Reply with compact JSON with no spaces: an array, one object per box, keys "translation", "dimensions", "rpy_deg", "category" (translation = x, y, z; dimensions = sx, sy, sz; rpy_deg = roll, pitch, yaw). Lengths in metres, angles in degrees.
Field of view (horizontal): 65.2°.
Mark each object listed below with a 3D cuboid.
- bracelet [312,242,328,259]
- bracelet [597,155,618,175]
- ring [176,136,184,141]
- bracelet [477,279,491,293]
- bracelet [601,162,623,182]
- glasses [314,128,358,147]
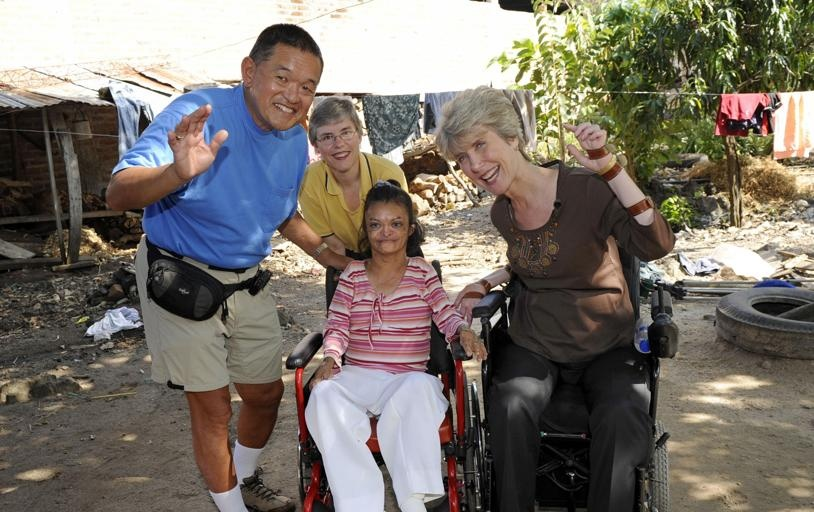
[{"translation":[-0.786,-0.050,5.815],"dimensions":[0.152,0.096,0.138],"rpy_deg":[-27,-21,3],"category":"bracelet"},{"translation":[1.574,-0.704,5.011],"dimensions":[0.108,0.146,0.152],"rpy_deg":[13,-15,-3],"category":"bracelet"},{"translation":[-1.585,-0.823,4.433],"dimensions":[0.030,0.022,0.030],"rpy_deg":[1,6,0],"category":"ring"},{"translation":[0.683,0.277,5.658],"dimensions":[0.119,0.086,0.117],"rpy_deg":[-29,-3,-5],"category":"bracelet"},{"translation":[1.597,-0.657,5.053],"dimensions":[0.106,0.142,0.142],"rpy_deg":[35,-1,-7],"category":"bracelet"},{"translation":[-0.635,-1.056,5.716],"dimensions":[0.209,0.061,0.208],"rpy_deg":[-12,-7,0],"category":"glasses"}]
